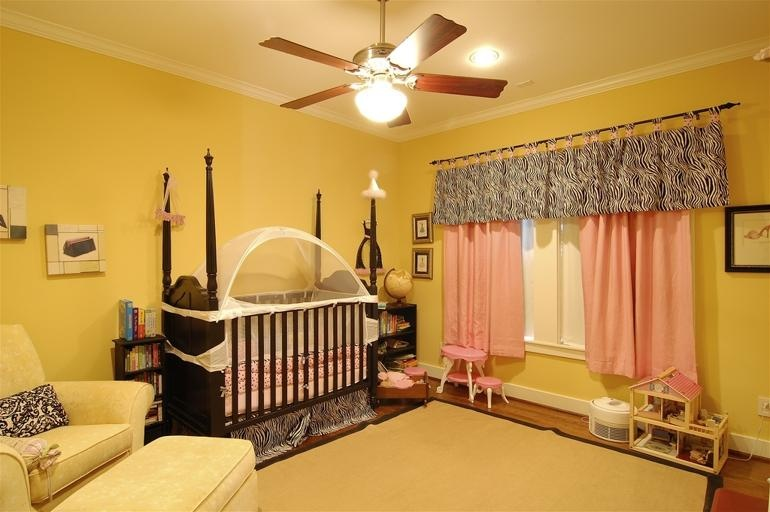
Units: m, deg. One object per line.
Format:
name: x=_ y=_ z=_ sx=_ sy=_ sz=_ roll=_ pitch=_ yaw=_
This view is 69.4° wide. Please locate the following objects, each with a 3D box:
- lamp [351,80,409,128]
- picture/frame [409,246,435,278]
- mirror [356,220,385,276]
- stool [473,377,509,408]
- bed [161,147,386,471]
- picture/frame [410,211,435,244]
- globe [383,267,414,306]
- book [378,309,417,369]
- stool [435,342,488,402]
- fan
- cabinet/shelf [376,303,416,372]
lamp: x=0.009 y=-1.139 z=4.092 sx=0.366 sy=0.148 sz=0.388 roll=7 pitch=-6 yaw=-25
picture/frame: x=0.450 y=0.094 z=6.564 sx=0.308 sy=0.379 sz=0.039 roll=2 pitch=3 yaw=39
mirror: x=-0.168 y=-0.111 z=6.312 sx=0.340 sy=0.577 sz=0.071 roll=2 pitch=0 yaw=28
stool: x=1.069 y=1.387 z=5.711 sx=0.366 sy=0.221 sz=0.365 roll=1 pitch=5 yaw=-9
bed: x=-1.058 y=0.445 z=5.236 sx=1.841 sy=2.426 sz=1.225 roll=-2 pitch=4 yaw=-44
picture/frame: x=0.444 y=-0.318 z=6.555 sx=0.045 sy=0.363 sz=0.304 roll=-5 pitch=4 yaw=-43
globe: x=0.155 y=0.359 z=6.385 sx=0.354 sy=0.430 sz=0.427 roll=-3 pitch=-2 yaw=29
book: x=0.132 y=0.944 z=6.288 sx=0.227 sy=0.638 sz=0.707 roll=-3 pitch=-4 yaw=35
stool: x=0.854 y=1.274 z=5.996 sx=0.436 sy=0.453 sz=0.526 roll=4 pitch=-1 yaw=37
fan: x=0.066 y=-1.425 z=4.154 sx=1.236 sy=0.796 sz=1.236 roll=-1 pitch=-9 yaw=3
cabinet/shelf: x=0.116 y=0.927 z=6.228 sx=0.255 sy=0.715 sz=0.779 roll=-3 pitch=-4 yaw=33
